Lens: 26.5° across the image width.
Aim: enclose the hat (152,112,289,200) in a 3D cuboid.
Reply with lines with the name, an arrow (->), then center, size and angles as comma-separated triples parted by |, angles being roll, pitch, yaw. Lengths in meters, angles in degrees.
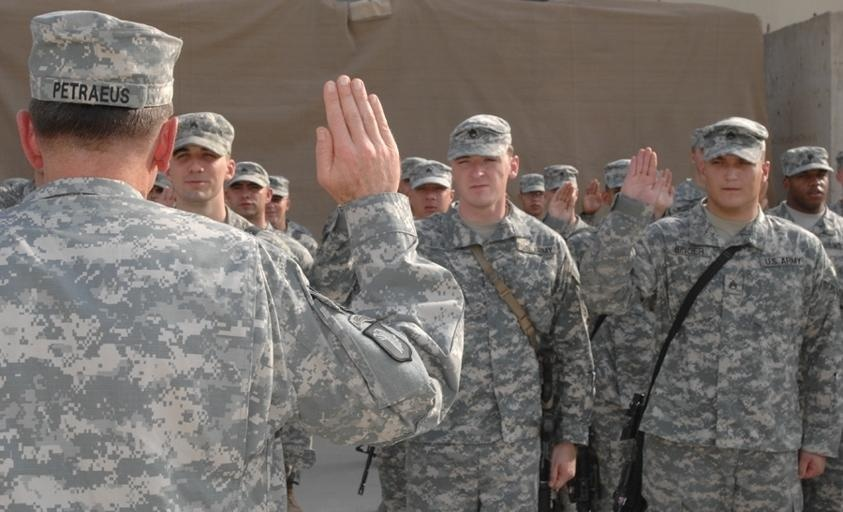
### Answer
hat -> -1.747, -1.022, 17.036 | 1.293, 0.555, 0.770 | 18, -12, -38
